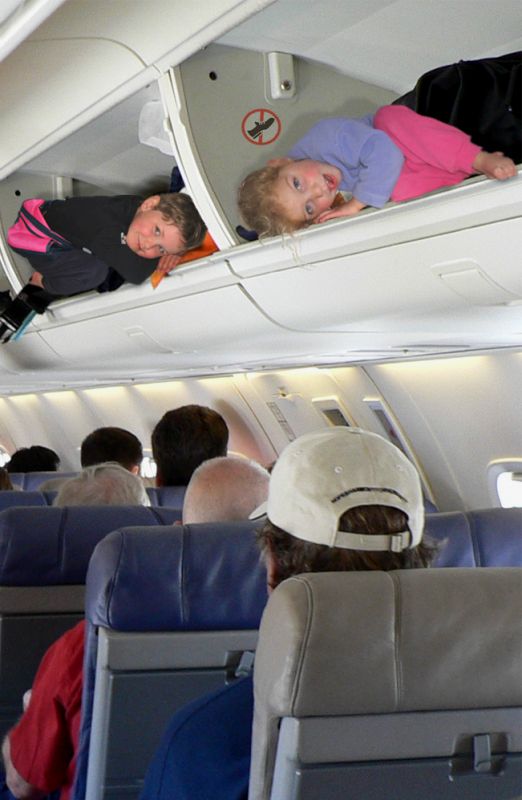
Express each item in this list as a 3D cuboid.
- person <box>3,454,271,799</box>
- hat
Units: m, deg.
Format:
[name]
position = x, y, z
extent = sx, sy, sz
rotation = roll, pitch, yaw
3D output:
[person]
position = -0.262, 0.720, 2.187
extent = 0.677, 0.995, 0.866
rotation = 8, -11, -25
[hat]
position = 0.130, 0.155, 1.045
extent = 0.243, 0.184, 0.211
rotation = -4, 36, 11
